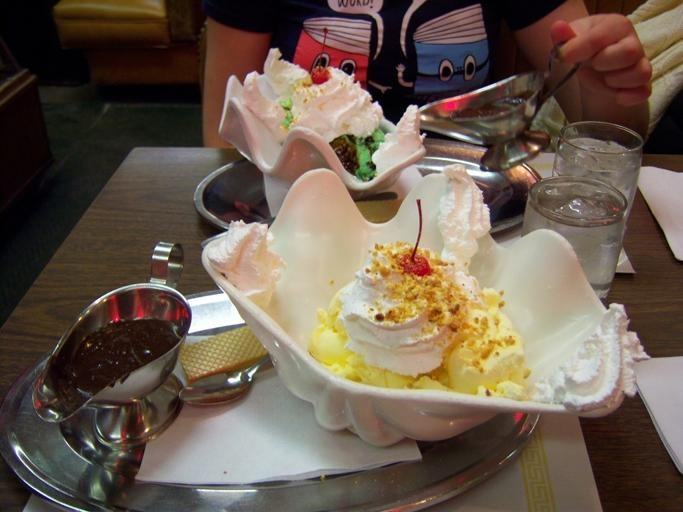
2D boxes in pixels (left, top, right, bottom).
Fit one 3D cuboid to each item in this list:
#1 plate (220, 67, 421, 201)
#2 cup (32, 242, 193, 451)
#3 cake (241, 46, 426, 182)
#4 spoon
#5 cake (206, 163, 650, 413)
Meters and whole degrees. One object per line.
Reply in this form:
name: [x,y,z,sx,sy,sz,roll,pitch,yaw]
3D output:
plate: [-0.073,-0.240,1.099,0.267,0.137,0.324,34,33,29]
cup: [-0.324,0.119,0.803,0.187,0.096,0.328,-1,48,-4]
cake: [-0.035,-0.244,1.185,0.355,0.162,0.319,20,32,-22]
spoon: [-0.168,0.193,0.799,0.166,0.024,0.043,-21,44,-40]
cake: [0.079,0.081,0.759,0.472,0.239,0.448,-1,37,-10]
